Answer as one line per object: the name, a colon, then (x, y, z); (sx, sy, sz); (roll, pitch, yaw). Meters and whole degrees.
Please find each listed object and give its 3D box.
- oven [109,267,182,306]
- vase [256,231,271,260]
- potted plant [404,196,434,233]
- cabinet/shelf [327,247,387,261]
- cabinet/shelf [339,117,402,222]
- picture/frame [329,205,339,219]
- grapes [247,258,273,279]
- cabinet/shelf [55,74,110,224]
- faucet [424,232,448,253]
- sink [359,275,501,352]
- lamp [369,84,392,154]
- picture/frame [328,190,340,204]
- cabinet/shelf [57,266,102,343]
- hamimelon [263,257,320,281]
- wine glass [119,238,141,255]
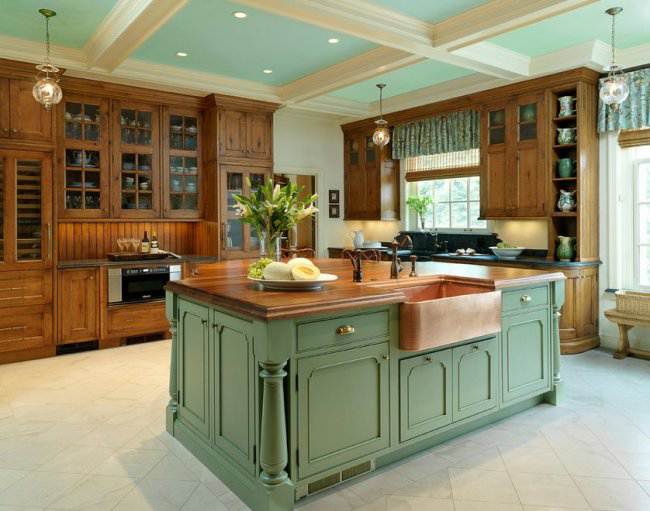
oven: (-2.167, 0.340, 5.681); (0.992, 0.392, 0.592); (0, -1, -36)
vase: (-0.411, -0.077, 3.304); (0.064, 0.182, 0.158); (-2, 10, -8)
potted plant: (1.430, -0.657, 7.443); (0.341, 0.541, 0.500); (-6, 12, -30)
cabinet/shelf: (0.591, -0.024, 7.027); (0.532, 0.215, 0.291); (5, 7, 42)
cabinet/shelf: (0.693, -1.390, 7.837); (1.060, 1.598, 0.421); (10, 15, 43)
picture/frame: (0.136, -0.759, 8.099); (0.306, 0.256, 0.031); (-1, 1, -35)
grapes: (-0.433, 0.087, 3.233); (0.166, 0.084, 0.165); (0, 0, -12)
cabinet/shelf: (-2.757, -1.218, 5.551); (0.656, 1.579, 0.253); (-6, 13, -27)
faucet: (1.657, -0.202, 7.162); (0.201, 0.295, 0.365); (3, -4, -36)
sink: (0.650, 0.258, 3.333); (0.875, 0.293, 0.583); (-3, 3, -37)
lamp: (0.688, -1.743, 5.985); (0.269, 0.760, 0.213); (5, 22, 20)
picture/frame: (0.139, -1.013, 8.079); (0.330, 0.261, 0.022); (-1, 0, -35)
cabinet/shelf: (-2.719, 0.556, 5.360); (0.465, 0.807, 0.179); (-5, 12, -23)
hamimelon: (-0.211, 0.092, 3.066); (0.328, 0.111, 0.268); (-5, 10, -30)
wine glass: (-2.451, -0.126, 6.076); (0.366, 0.193, 0.192); (-1, 0, -38)
